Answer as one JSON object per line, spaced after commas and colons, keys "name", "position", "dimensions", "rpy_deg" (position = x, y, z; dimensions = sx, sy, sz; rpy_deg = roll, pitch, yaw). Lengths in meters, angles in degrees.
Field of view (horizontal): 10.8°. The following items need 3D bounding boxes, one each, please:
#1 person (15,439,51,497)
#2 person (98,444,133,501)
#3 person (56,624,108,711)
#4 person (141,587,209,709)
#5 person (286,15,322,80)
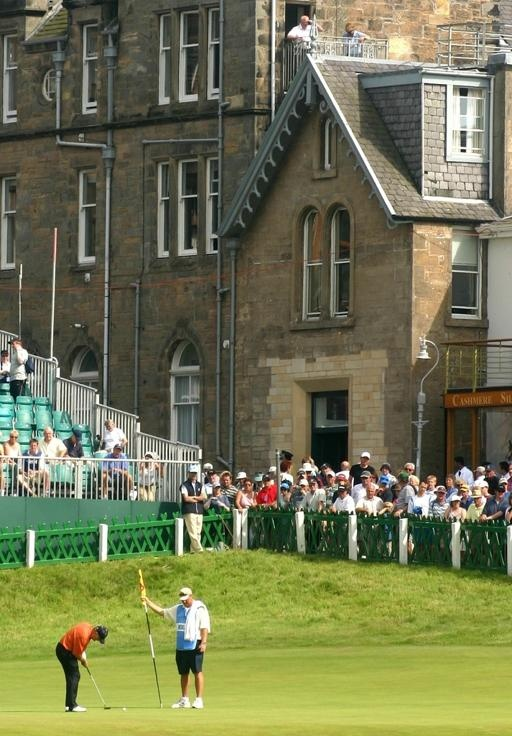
{"name": "person", "position": [-3.936, 1.628, 47.454], "dimensions": [0.517, 1.065, 0.557], "rpy_deg": [-8, 11, -38]}
{"name": "person", "position": [-2.503, 1.695, 48.937], "dimensions": [0.503, 1.073, 0.616], "rpy_deg": [0, 0, 21]}
{"name": "person", "position": [-2.373, 3.866, 36.366], "dimensions": [0.635, 1.354, 1.872], "rpy_deg": [4, 9, -3]}
{"name": "person", "position": [-0.933, 3.572, 36.552], "dimensions": [0.733, 1.663, 0.852], "rpy_deg": [0, -1, -16]}
{"name": "person", "position": [0.952, -6.762, 56.513], "dimensions": [0.601, 1.260, 1.491], "rpy_deg": [4, 9, 0]}
